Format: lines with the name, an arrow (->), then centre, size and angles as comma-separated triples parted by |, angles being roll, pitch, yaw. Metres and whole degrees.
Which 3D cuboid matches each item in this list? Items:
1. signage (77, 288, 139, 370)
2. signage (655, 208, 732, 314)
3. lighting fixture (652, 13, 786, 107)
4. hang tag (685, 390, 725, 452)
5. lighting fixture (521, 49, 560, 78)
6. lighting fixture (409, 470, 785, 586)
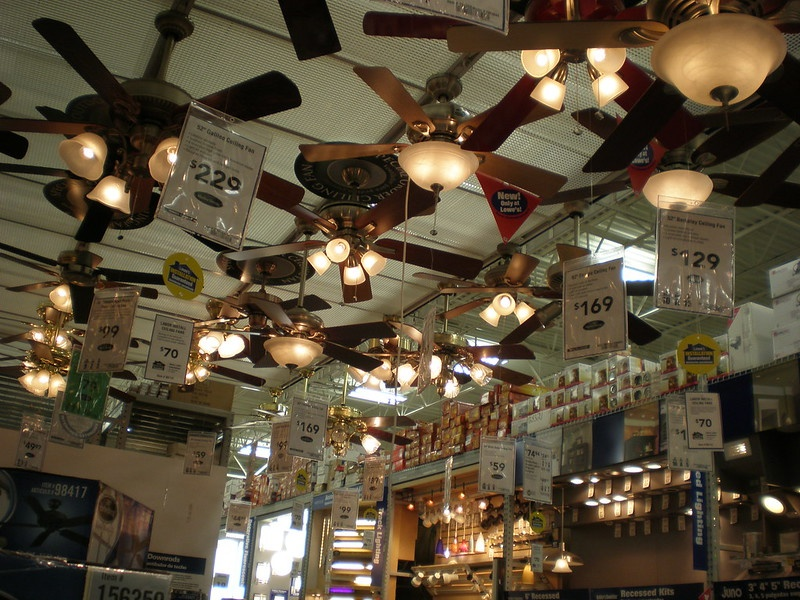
signage -> -2.540, 0.259, 6.358 | 0.577, 0.831, 0.233 | -11, -29, 29
signage -> 1.705, -0.208, 4.201 | 0.634, 0.723, 0.081 | 8, -18, 2
lighting fixture -> 1.515, -1.127, 3.445 | 0.504, 0.337, 0.428 | 12, -25, -22
hang tag -> 2.442, 0.985, 5.836 | 0.270, 0.472, 0.117 | -2, -26, 12
lighting fixture -> 0.857, -1.468, 4.493 | 0.227, 0.170, 0.185 | 15, -48, 10
lighting fixture -> 2.451, 2.805, 8.808 | 1.528, 1.657, 2.816 | 20, -35, -21
